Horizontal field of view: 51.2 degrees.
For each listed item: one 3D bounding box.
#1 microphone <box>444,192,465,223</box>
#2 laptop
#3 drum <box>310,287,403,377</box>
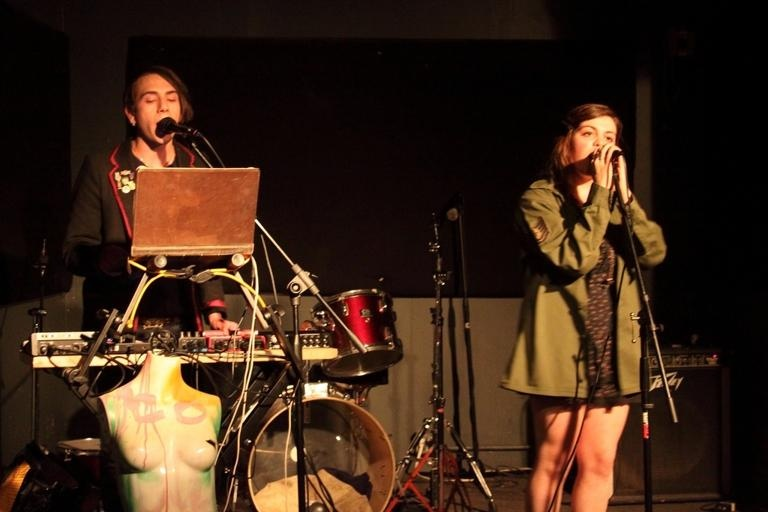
[{"bbox_3d":[0.424,-0.306,5.019,0.118,0.157,0.151,1,-2,-2],"label":"microphone"},{"bbox_3d":[-0.986,-0.210,4.020,0.607,0.416,0.532,-2,-1,-28],"label":"laptop"},{"bbox_3d":[-0.164,0.481,5.129,0.501,0.394,0.490,-8,-11,-2],"label":"drum"}]
